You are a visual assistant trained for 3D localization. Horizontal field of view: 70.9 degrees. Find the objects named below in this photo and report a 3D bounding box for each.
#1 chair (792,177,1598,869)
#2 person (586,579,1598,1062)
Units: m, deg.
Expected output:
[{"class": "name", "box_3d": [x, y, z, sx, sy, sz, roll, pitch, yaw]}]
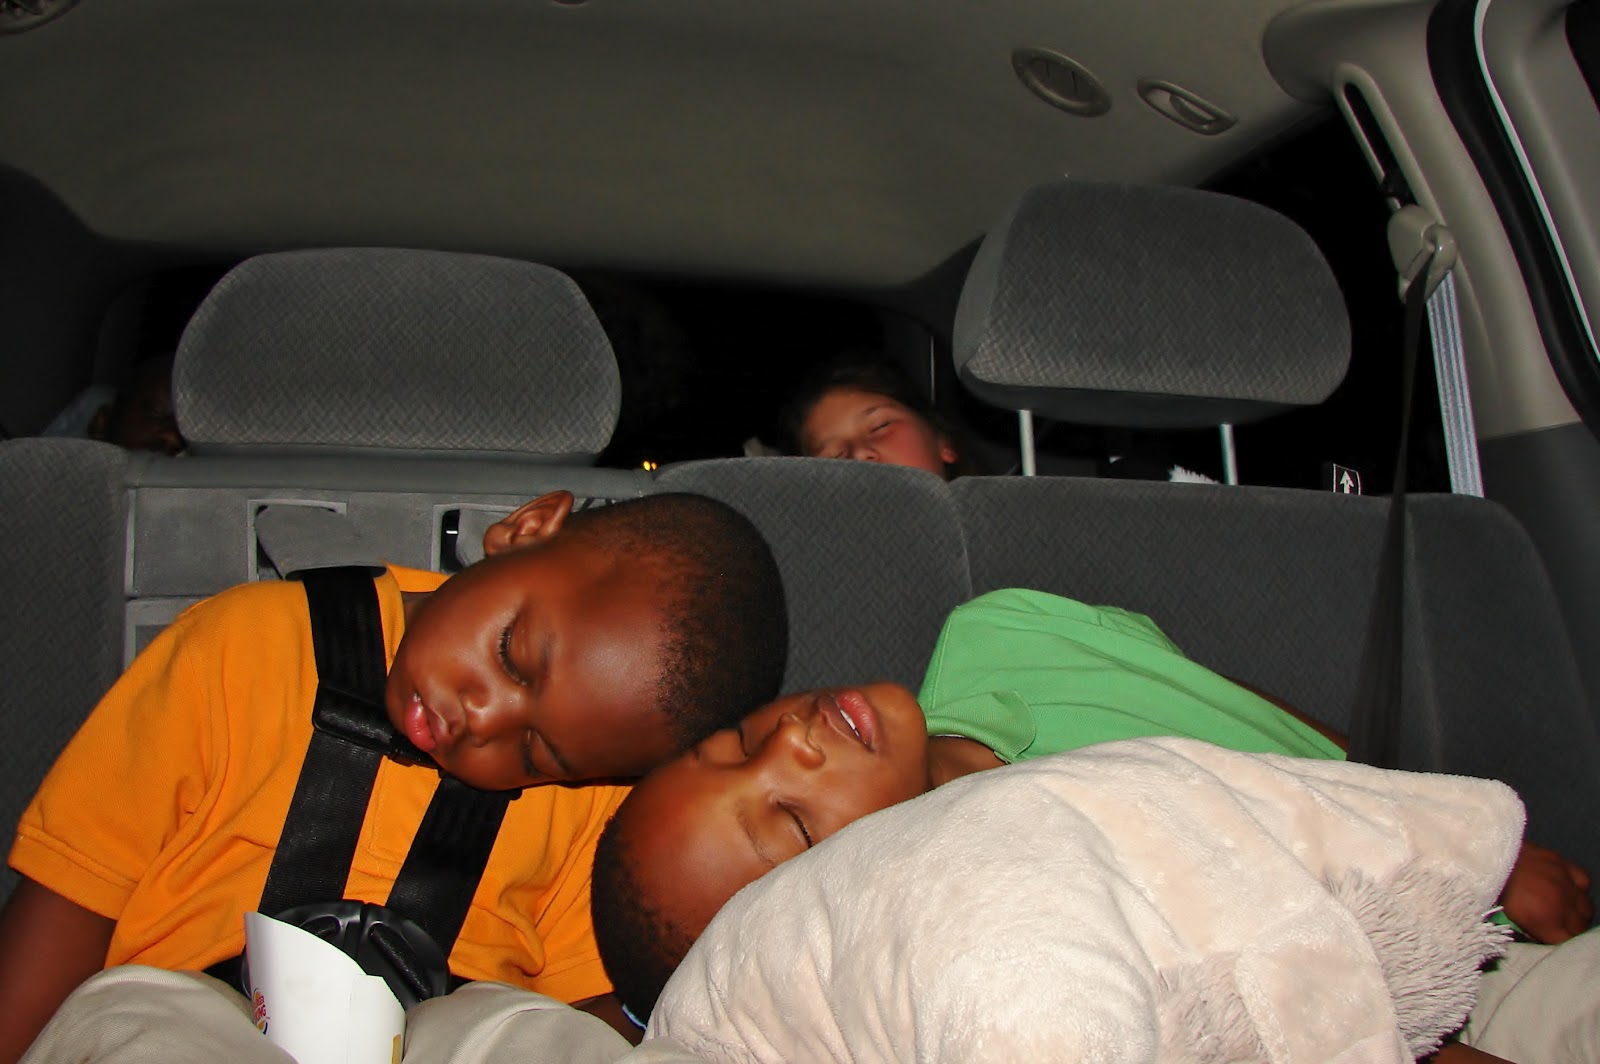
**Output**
[{"class": "chair", "box_3d": [0.581, 0.050, 1.956, 0.732, 1.030, 1.006, 7, 72, -30]}, {"class": "person", "box_3d": [0.245, 0.443, 1.409, 0.776, 0.262, 0.604, -9, 23, 18]}]
